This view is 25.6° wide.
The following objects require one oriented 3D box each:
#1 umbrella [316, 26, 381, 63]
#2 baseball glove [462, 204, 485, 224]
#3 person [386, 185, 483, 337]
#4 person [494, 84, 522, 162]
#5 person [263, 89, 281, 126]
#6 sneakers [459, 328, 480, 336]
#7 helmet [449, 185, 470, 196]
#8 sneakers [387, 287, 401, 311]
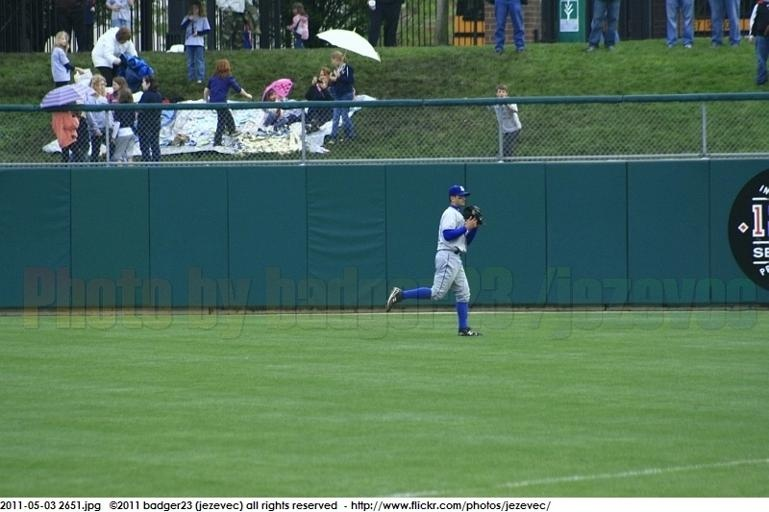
[{"bbox_3d":[-0.641,-4.433,34.755,1.122,0.387,1.161,24,4,18],"label":"umbrella"},{"bbox_3d":[1.702,-0.782,32.183,0.367,0.378,0.301,3,41,7],"label":"baseball glove"},{"bbox_3d":[1.160,0.063,32.332,1.505,2.822,0.645,1,4,25],"label":"person"},{"bbox_3d":[2.539,-2.565,34.219,0.529,1.131,0.193,-1,3,3],"label":"person"},{"bbox_3d":[-2.300,-3.099,35.057,0.352,0.345,0.935,1,-27,1],"label":"person"},{"bbox_3d":[1.637,1.437,32.011,0.425,0.198,0.149,0,-1,2],"label":"sneakers"},{"bbox_3d":[1.410,-1.249,32.173,0.301,0.180,0.220,-3,3,18],"label":"helmet"},{"bbox_3d":[0.202,0.833,32.755,0.227,0.534,0.195,20,25,-11],"label":"sneakers"}]
